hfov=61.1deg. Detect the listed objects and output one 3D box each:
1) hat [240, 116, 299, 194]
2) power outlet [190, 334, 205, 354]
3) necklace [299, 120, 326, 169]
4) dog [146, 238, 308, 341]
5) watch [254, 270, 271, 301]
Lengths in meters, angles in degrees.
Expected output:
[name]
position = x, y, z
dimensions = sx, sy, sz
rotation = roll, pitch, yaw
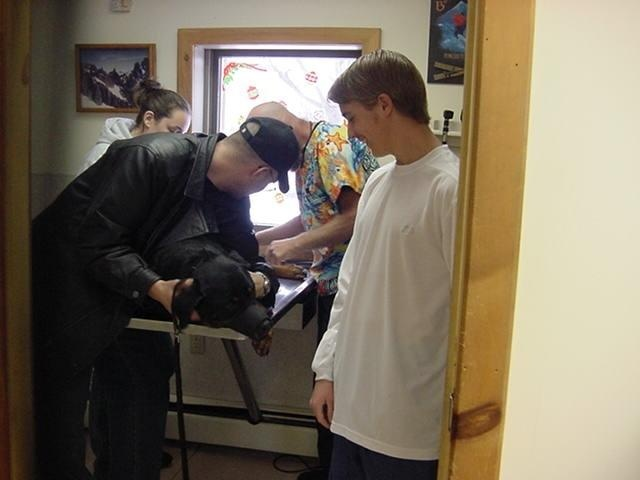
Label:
[hat]
position = -0.126, -0.247, 1.529
dimensions = 0.122, 0.204, 0.147
rotation = -37, 28, 13
[power outlet]
position = -0.490, 0.418, 2.164
dimensions = 0.064, 0.067, 0.016
rotation = 5, 9, -8
[necklace]
position = -0.038, -0.288, 1.693
dimensions = 0.030, 0.131, 0.095
rotation = 24, 4, -7
[dog]
position = -0.242, 0.105, 1.277
dimensions = 0.272, 0.123, 0.244
rotation = 31, 40, 6
[watch]
position = -0.143, 0.114, 1.385
dimensions = 0.032, 0.061, 0.046
rotation = -14, 35, -32
